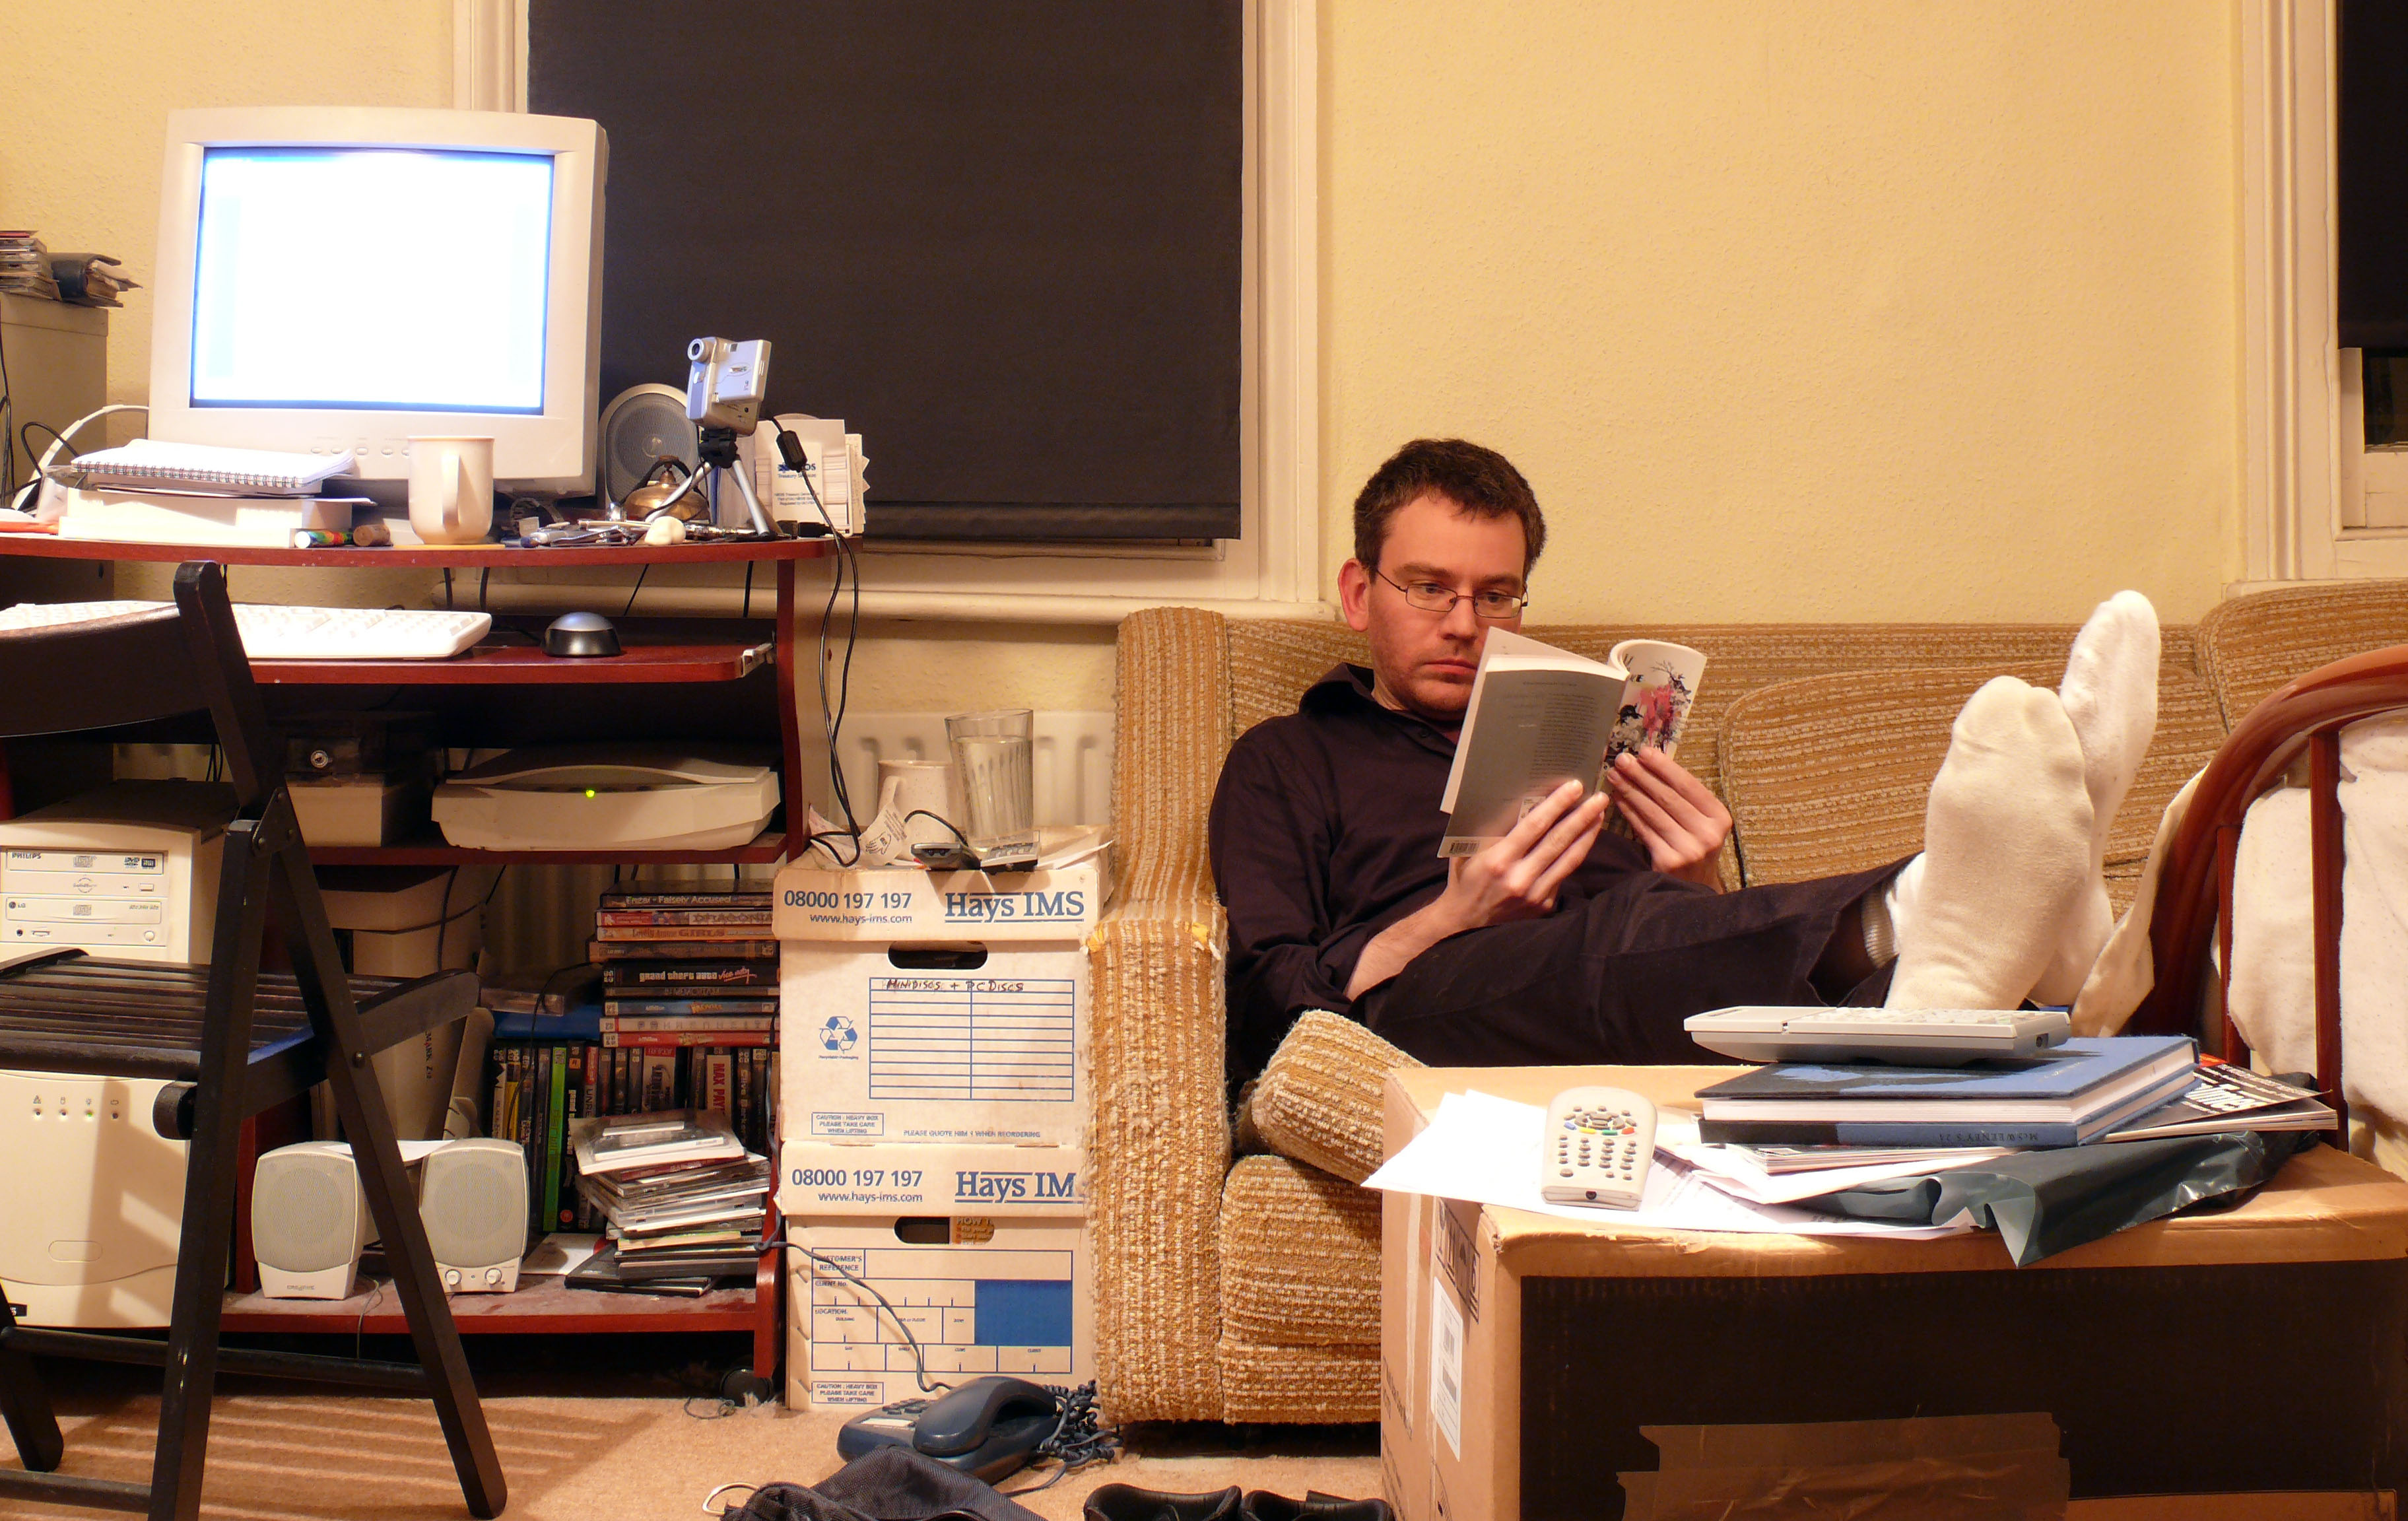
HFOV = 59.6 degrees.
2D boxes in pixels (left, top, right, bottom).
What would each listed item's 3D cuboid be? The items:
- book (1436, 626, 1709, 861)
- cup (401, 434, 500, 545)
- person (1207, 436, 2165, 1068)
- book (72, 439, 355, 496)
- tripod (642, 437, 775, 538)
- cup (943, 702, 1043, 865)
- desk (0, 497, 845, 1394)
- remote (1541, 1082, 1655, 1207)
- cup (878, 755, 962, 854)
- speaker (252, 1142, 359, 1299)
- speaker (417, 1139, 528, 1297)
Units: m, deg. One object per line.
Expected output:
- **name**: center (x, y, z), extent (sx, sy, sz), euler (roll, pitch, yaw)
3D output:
- **book**: center (0.415, -0.027, 2.831), extent (0.504, 0.275, 0.127), euler (-4, 30, -35)
- **cup**: center (-1.056, -0.373, 2.928), extent (0.110, 0.151, 0.173), euler (0, 9, -17)
- **person**: center (0.587, 0.041, 2.811), extent (0.607, 0.860, 1.294), euler (-9, 5, -34)
- **book**: center (-1.398, -0.407, 2.934), extent (0.391, 0.076, 0.151), euler (-3, 9, -14)
- **tripod**: center (-0.703, -0.386, 3.090), extent (0.173, 0.181, 0.175), euler (1, -1, -40)
- **cup**: center (-0.304, 0.041, 2.982), extent (0.114, 0.202, 0.129), euler (-3, 9, -8)
- **desk**: center (-0.828, 0.378, 3.420), extent (1.634, 1.467, 1.130), euler (0, 8, -1)
- **remote**: center (0.389, 0.385, 2.072), extent (0.109, 0.037, 0.138), euler (-4, 38, 7)
- **cup**: center (-0.410, 0.063, 3.048), extent (0.093, 0.140, 0.152), euler (2, 4, 41)
- **speaker**: center (-1.317, 0.672, 3.000), extent (0.125, 0.203, 0.153), euler (-24, -27, 33)
- **speaker**: center (-1.041, 0.654, 3.040), extent (0.153, 0.204, 0.121), euler (-1, -4, -3)
